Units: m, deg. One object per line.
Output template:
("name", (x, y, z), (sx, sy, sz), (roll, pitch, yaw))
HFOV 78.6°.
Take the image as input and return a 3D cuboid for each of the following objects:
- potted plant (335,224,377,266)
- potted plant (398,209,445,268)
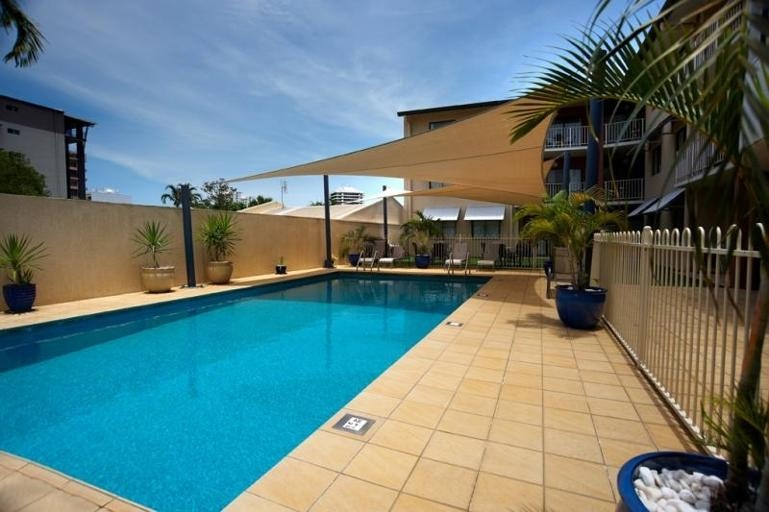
("potted plant", (-1.210, -0.522, 20.245), (1.822, 1.926, 1.400), (7, -8, -38))
("potted plant", (1.433, -0.867, 20.247), (1.738, 2.596, 2.098), (7, 12, 44))
